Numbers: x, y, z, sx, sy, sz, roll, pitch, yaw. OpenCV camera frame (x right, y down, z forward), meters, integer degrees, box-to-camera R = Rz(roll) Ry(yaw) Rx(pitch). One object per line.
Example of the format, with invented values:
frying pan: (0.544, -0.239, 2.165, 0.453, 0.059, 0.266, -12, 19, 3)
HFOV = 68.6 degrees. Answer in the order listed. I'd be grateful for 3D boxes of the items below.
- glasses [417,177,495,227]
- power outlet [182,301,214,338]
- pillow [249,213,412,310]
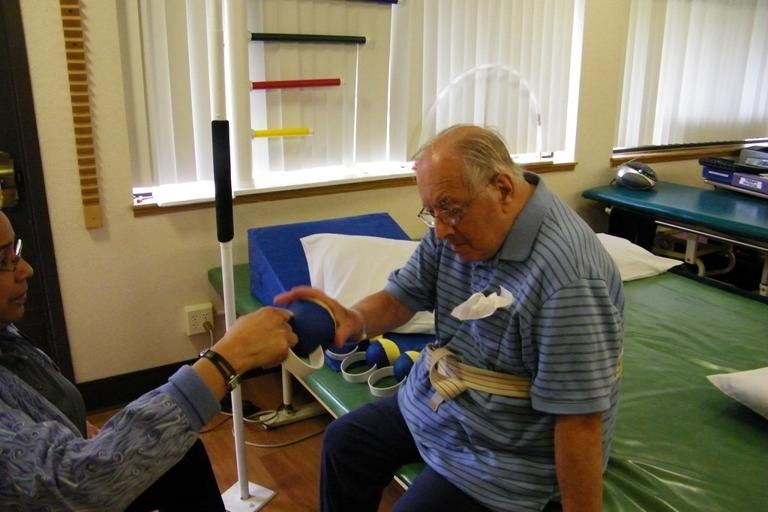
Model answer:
glasses: (0.226, -0.200, 1.753, 0.189, 0.081, 0.143, -34, 7, -16)
power outlet: (-1.007, 0.335, 3.066, 0.183, 0.180, 0.061, -6, 11, -34)
pillow: (-0.413, -0.061, 2.935, 0.704, 0.356, 0.497, -7, 19, -24)
